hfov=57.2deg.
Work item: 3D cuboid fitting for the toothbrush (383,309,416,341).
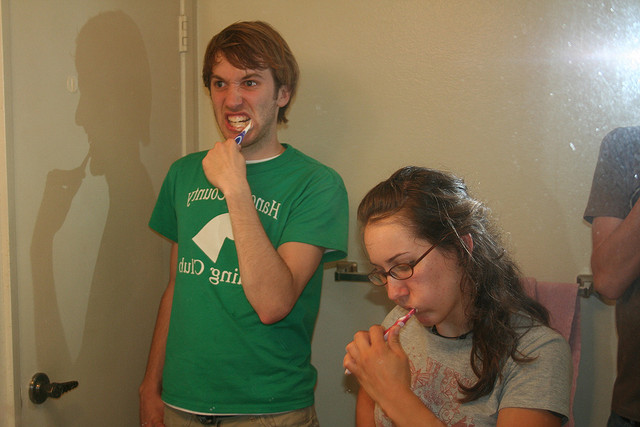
[{"bbox_3d":[0.237,0.323,1.780,0.100,0.098,0.149,-6,4,5],"label":"toothbrush"}]

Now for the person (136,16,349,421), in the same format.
[{"bbox_3d":[-0.301,0.016,2.009,0.785,1.337,0.425,-6,5,1],"label":"person"}]

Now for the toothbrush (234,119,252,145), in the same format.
[{"bbox_3d":[-0.260,-0.278,2.032,0.027,0.118,0.017,30,-30,0],"label":"toothbrush"}]

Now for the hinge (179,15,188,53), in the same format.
[{"bbox_3d":[-0.547,-0.714,2.356,0.046,0.145,0.010,-7,6,-12],"label":"hinge"}]

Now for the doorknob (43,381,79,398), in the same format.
[{"bbox_3d":[-0.865,0.577,1.955,0.042,0.026,0.064,-2,5,16],"label":"doorknob"}]
